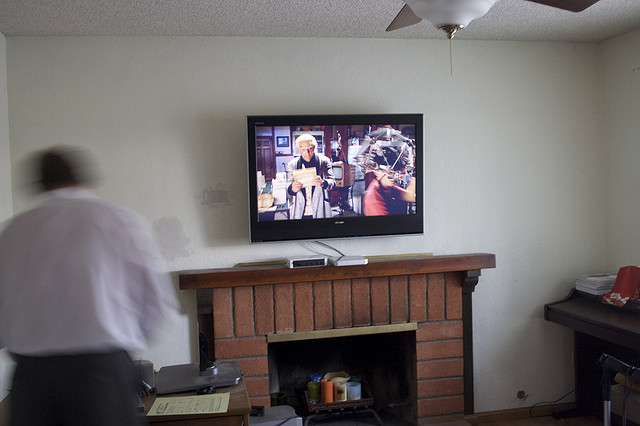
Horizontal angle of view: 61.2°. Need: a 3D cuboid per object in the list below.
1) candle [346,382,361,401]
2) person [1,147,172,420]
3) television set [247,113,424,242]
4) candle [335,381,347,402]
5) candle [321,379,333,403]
[{"bbox_3d":[0.260,1.407,4.266,0.119,0.125,0.117,-2,5,-41],"label":"candle"},{"bbox_3d":[-1.246,0.374,2.824,0.867,1.432,0.297,-3,5,-14],"label":"person"},{"bbox_3d":[0.063,-0.297,4.138,1.038,0.683,0.097,-1,2,-7],"label":"television set"},{"bbox_3d":[0.163,1.391,4.236,0.105,0.148,0.058,-3,5,-9],"label":"candle"},{"bbox_3d":[0.054,1.385,4.223,0.090,0.173,0.053,-2,5,-2],"label":"candle"}]
